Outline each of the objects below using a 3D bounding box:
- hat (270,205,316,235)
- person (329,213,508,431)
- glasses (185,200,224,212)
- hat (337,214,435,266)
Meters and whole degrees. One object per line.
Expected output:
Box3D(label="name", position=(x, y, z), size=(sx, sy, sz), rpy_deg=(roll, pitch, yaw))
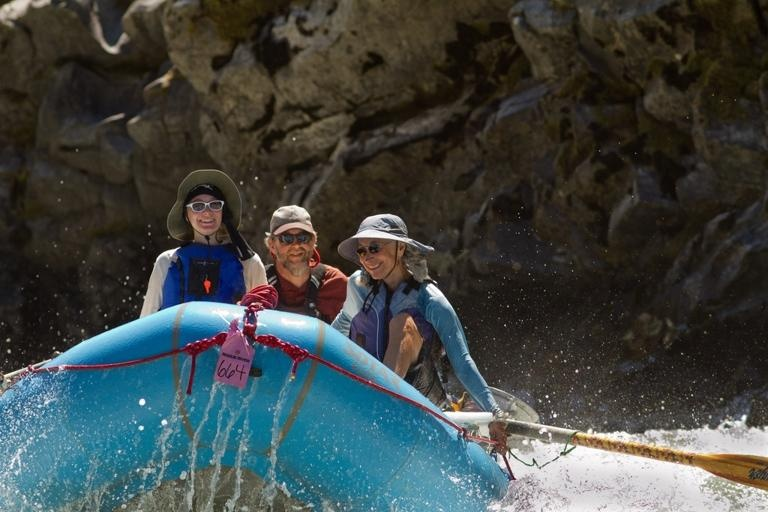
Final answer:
Box3D(label="hat", position=(-1.074, -0.424, 16.461), size=(0.536, 0.346, 0.343), rpy_deg=(1, 39, -10))
Box3D(label="person", position=(0.469, 0.861, 16.918), size=(2.022, 1.497, 1.128), rpy_deg=(26, 29, 34))
Box3D(label="glasses", position=(-2.056, -0.570, 16.114), size=(0.434, 0.133, 0.147), rpy_deg=(0, 39, -12))
Box3D(label="hat", position=(-0.004, -0.265, 15.982), size=(0.717, 0.339, 0.711), rpy_deg=(12, -16, -43))
